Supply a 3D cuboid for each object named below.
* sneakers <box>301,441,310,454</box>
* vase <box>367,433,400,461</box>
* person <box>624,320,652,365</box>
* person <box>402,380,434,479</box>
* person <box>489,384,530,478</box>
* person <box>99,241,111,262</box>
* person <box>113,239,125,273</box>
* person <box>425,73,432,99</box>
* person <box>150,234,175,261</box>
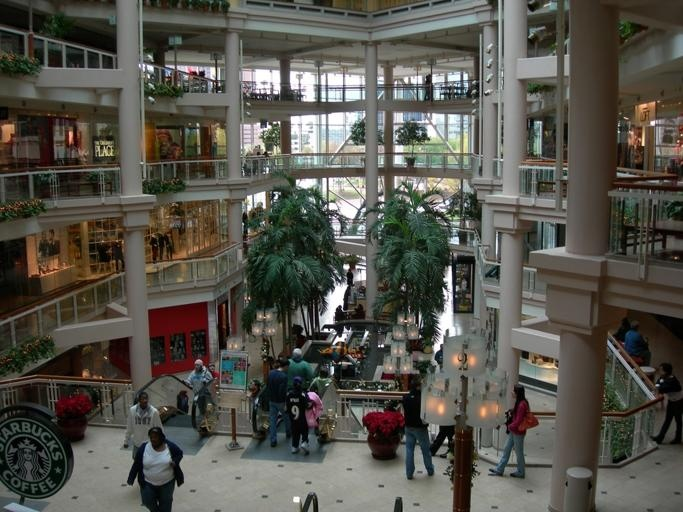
[{"bbox_3d":[-0.643,3.420,10.243,0.089,0.266,0.115,-3,32,6],"label":"sneakers"},{"bbox_3d":[0.722,3.283,10.033,0.454,0.363,0.470,4,6,39],"label":"vase"},{"bbox_3d":[7.007,2.128,13.659,0.548,1.021,0.990,3,9,27],"label":"person"},{"bbox_3d":[1.232,2.780,9.193,0.484,1.718,0.993,0,8,7],"label":"person"},{"bbox_3d":[2.867,2.895,9.720,0.559,1.693,0.645,1,8,17],"label":"person"},{"bbox_3d":[-8.654,-0.124,21.019,0.408,0.623,0.762,-5,9,-24],"label":"person"},{"bbox_3d":[-7.908,0.069,20.451,0.325,0.988,1.541,-4,9,-21],"label":"person"},{"bbox_3d":[4.712,-9.081,31.003,0.385,1.475,1.205,0,8,8],"label":"person"},{"bbox_3d":[-7.434,-0.342,23.655,0.703,1.034,1.190,-2,8,-8],"label":"person"}]
